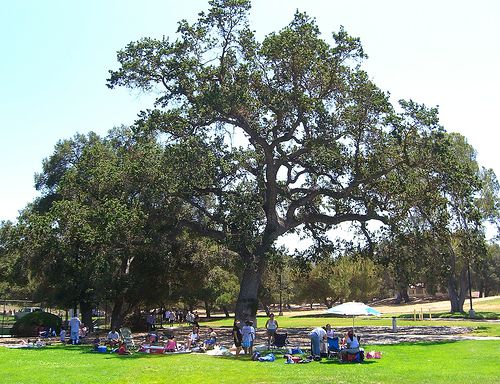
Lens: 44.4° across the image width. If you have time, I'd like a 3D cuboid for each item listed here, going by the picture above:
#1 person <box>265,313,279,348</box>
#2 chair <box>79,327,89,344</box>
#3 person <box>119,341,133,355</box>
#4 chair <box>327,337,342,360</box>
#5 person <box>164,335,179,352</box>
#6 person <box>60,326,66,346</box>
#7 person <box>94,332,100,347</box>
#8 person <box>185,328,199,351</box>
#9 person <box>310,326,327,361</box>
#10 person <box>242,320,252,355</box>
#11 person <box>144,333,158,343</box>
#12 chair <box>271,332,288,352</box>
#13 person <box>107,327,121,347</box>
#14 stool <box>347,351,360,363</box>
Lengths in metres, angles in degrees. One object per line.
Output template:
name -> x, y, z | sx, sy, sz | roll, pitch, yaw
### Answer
person -> 1.440, 9.077, 40.489 | 0.695, 2.388, 0.565 | 0, 18, -4
chair -> -11.736, 10.202, 43.654 | 0.598, 0.993, 0.327 | -7, -14, 23
person -> -7.874, 9.946, 39.000 | 0.693, 0.851, 0.690 | 0, -9, -19
chair -> 5.096, 9.374, 36.982 | 0.837, 1.495, 0.967 | 0, -9, 10
person -> -5.014, 9.943, 39.693 | 0.922, 0.860, 0.487 | 8, -17, -33
person -> -13.133, 10.380, 43.566 | 0.384, 1.079, 2.800 | 3, -17, -16
person -> -10.072, 9.871, 40.705 | 0.410, 0.967, 0.878 | 2, -15, -13
person -> -3.753, 9.768, 40.857 | 0.799, 1.591, 2.019 | 0, -16, -6
person -> 4.167, 9.127, 36.949 | 0.687, 1.964, 1.431 | -8, -16, 27
person -> -0.123, 9.140, 38.332 | 0.626, 2.002, 1.008 | -1, -14, -1
person -> -6.755, 10.200, 42.625 | 0.874, 0.548, 1.235 | 2, -7, -7
chair -> 1.947, 9.639, 39.667 | 0.934, 1.456, 1.083 | 6, -20, -2
person -> -9.086, 9.812, 41.343 | 0.481, 1.219, 1.028 | 7, -17, -30
stool -> 6.048, 9.619, 35.656 | 0.541, 0.546, 0.551 | 9, -14, -37
